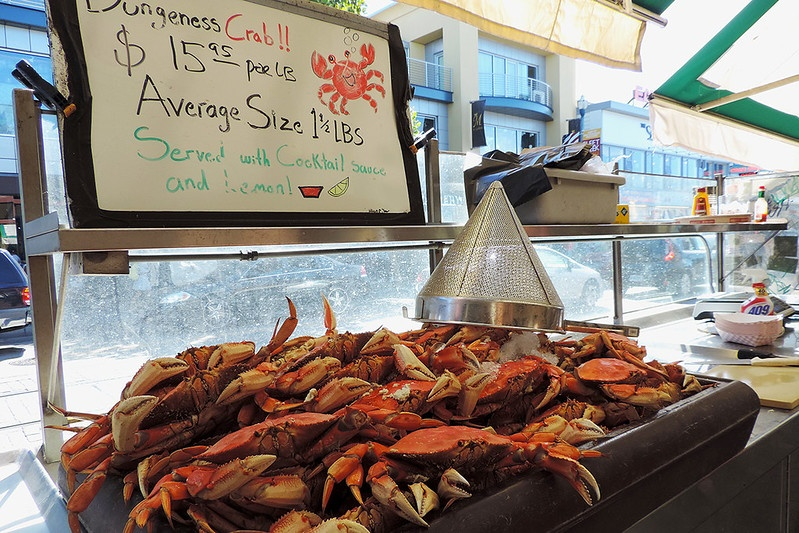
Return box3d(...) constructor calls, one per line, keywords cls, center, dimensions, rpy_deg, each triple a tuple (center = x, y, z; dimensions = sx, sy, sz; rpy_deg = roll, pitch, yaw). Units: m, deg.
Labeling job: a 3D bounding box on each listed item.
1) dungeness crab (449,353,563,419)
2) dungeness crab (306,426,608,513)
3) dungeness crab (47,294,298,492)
box3d(cls="dungeness crab", center=(0.176, 0.208, 1.003), dimensions=(0.185, 0.111, 0.242), rpy_deg=(3, 7, 30))
box3d(cls="dungeness crab", center=(0.084, 0.325, 0.831), dimensions=(0.286, 0.064, 0.192), rpy_deg=(-4, 7, -32))
box3d(cls="dungeness crab", center=(-0.392, 0.215, 0.929), dimensions=(0.477, 0.111, 0.280), rpy_deg=(-25, 26, -26))
